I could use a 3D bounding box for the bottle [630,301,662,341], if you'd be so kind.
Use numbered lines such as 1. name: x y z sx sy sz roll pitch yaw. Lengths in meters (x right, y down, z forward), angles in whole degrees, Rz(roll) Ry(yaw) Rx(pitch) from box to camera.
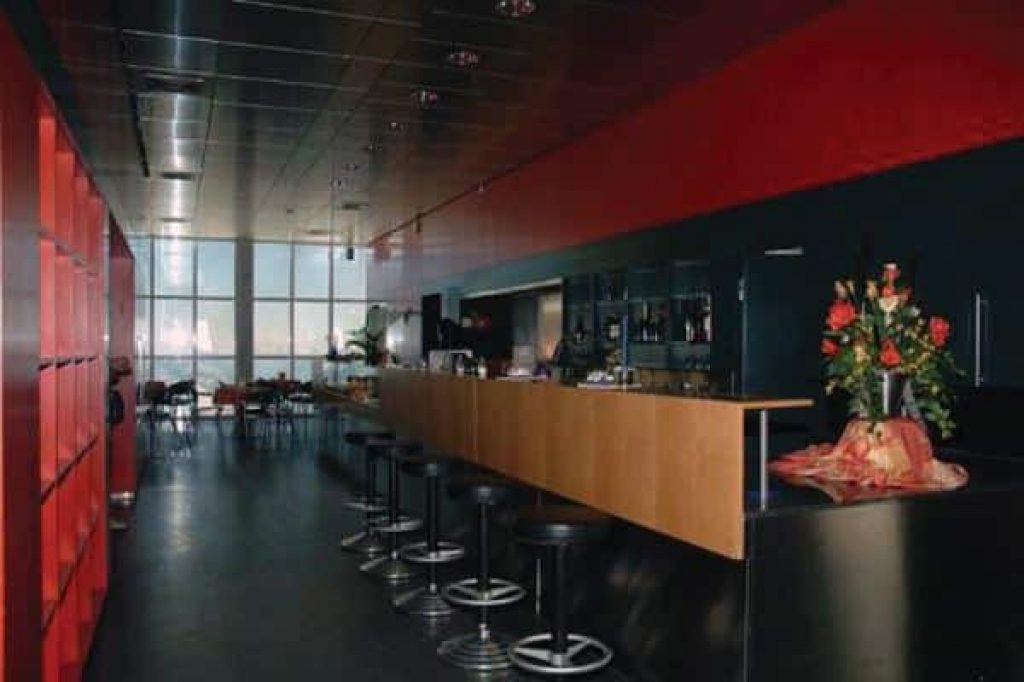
1. bottle: 1.357 -0.202 7.777 0.185 0.371 0.346 6 -10 -29

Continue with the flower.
1. flower: 2.215 0.040 4.628 0.730 1.019 0.766 3 -1 8

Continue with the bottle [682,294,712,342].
1. bottle: 1.700 -0.221 7.069 0.194 0.463 0.384 -1 4 5

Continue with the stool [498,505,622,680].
1. stool: 0.297 1.582 4.782 0.663 1.137 0.623 -1 4 0

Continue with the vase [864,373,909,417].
1. vase: 2.136 0.301 4.427 0.251 0.265 0.244 1 -2 -37
